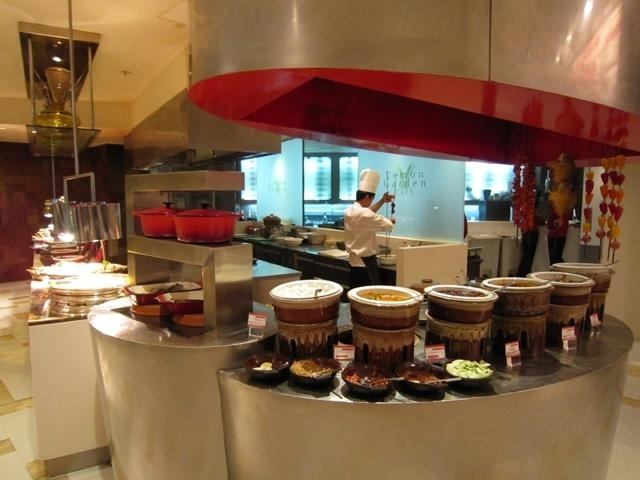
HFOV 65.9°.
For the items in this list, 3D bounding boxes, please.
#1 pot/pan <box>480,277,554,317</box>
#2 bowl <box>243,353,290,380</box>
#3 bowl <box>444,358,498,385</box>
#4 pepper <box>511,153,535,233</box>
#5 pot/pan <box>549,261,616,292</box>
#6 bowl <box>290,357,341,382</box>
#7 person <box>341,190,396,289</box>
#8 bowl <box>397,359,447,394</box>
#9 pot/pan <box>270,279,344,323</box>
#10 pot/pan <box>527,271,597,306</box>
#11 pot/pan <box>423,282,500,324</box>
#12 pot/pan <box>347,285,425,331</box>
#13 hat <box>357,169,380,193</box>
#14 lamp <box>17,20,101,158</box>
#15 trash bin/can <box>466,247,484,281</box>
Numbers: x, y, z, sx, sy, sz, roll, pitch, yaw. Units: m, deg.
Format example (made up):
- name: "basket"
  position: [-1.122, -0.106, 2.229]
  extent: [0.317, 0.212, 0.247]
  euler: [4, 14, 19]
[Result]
- name: "pot/pan"
  position: [0.939, 0.273, 2.372]
  extent: [0.345, 0.124, 0.359]
  euler: [3, 10, 43]
- name: "bowl"
  position: [-0.230, 0.553, 2.146]
  extent: [0.169, 0.068, 0.202]
  euler: [-11, 14, -42]
- name: "bowl"
  position: [0.617, 0.535, 2.051]
  extent: [0.194, 0.035, 0.216]
  euler: [0, 10, 8]
- name: "pepper"
  position: [1.212, -0.263, 2.945]
  extent: [0.123, 0.424, 0.273]
  euler: [2, 12, 21]
- name: "pot/pan"
  position: [1.406, 0.196, 2.660]
  extent: [0.354, 0.137, 0.358]
  euler: [0, 0, 21]
- name: "bowl"
  position: [-0.027, 0.554, 2.073]
  extent: [0.213, 0.056, 0.163]
  euler: [-2, 10, 1]
- name: "person"
  position: [0.492, 0.026, 4.994]
  extent: [0.506, 1.035, 0.465]
  euler: [-1, 11, 5]
- name: "bowl"
  position: [0.427, 0.535, 2.026]
  extent: [0.194, 0.045, 0.236]
  euler: [19, 9, 40]
- name: "pot/pan"
  position: [-0.066, 0.284, 2.286]
  extent: [0.335, 0.151, 0.269]
  euler: [-7, 12, -27]
- name: "pot/pan"
  position: [1.215, 0.271, 2.497]
  extent: [0.291, 0.106, 0.296]
  euler: [0, 3, 31]
- name: "pot/pan"
  position: [0.632, 0.281, 2.179]
  extent: [0.196, 0.069, 0.192]
  euler: [-2, 4, -40]
- name: "pot/pan"
  position: [0.289, 0.297, 2.213]
  extent: [0.333, 0.134, 0.294]
  euler: [1, 11, 14]
- name: "hat"
  position: [0.484, -0.588, 5.003]
  extent: [0.216, 0.221, 0.249]
  euler: [10, -1, 7]
- name: "lamp"
  position: [-1.951, -1.139, 3.678]
  extent: [0.534, 0.651, 0.974]
  euler: [1, -7, -30]
- name: "trash bin/can"
  position: [1.613, 0.245, 5.323]
  extent: [0.212, 0.278, 0.212]
  euler: [4, -4, 9]
